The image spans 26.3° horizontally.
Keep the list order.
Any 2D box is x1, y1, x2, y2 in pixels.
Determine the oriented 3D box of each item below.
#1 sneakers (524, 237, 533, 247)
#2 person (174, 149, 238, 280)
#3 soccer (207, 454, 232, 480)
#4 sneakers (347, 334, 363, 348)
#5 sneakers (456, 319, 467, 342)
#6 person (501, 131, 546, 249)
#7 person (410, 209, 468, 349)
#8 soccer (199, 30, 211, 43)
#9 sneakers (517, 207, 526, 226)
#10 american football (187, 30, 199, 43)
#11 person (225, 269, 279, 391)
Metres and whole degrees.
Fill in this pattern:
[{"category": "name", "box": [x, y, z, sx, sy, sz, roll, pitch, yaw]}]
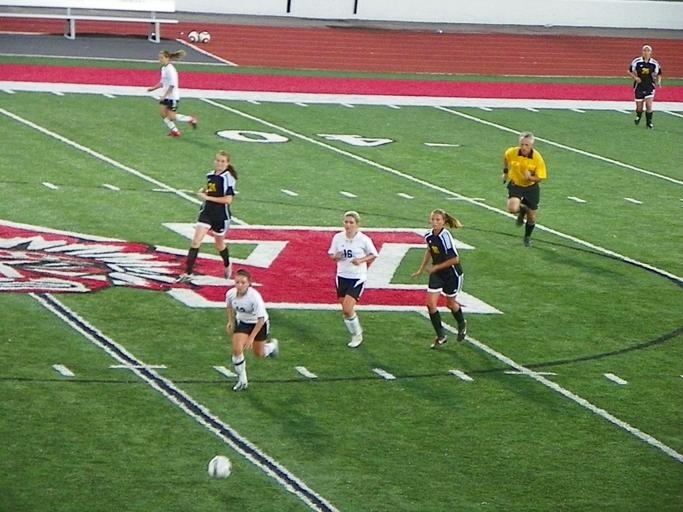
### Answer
[{"category": "sneakers", "box": [3.586, -0.263, 28.301, 0.134, 0.158, 0.177, -14, -35, 20]}, {"category": "person", "box": [-2.280, -0.696, 25.405, 0.749, 2.217, 0.912, 11, 15, 18]}, {"category": "soccer", "box": [-1.717, 2.939, 20.426, 0.338, 0.283, 0.253, 4, 13, -4]}, {"category": "sneakers", "box": [0.212, 1.349, 23.665, 0.214, 0.201, 0.340, 7, 12, 9]}, {"category": "sneakers", "box": [1.988, 1.241, 23.911, 0.145, 0.315, 0.168, 8, 3, 29]}, {"category": "person", "box": [3.490, -1.344, 28.374, 0.823, 2.200, 1.241, 7, 13, 6]}, {"category": "person", "box": [1.661, 0.320, 23.943, 0.977, 2.217, 1.119, 7, 13, 3]}, {"category": "soccer", "box": [-4.685, -7.444, 49.675, 0.498, 0.370, 0.288, -2, 39, -2]}, {"category": "sneakers", "box": [3.503, -0.780, 28.636, 0.162, 0.348, 0.270, 8, 23, 10]}, {"category": "american football", "box": [-5.061, -7.414, 49.489, 0.437, 0.231, 0.493, 3, -1, -6]}, {"category": "person", "box": [-1.378, 1.051, 22.513, 0.867, 1.812, 1.402, 5, 13, -2]}]
